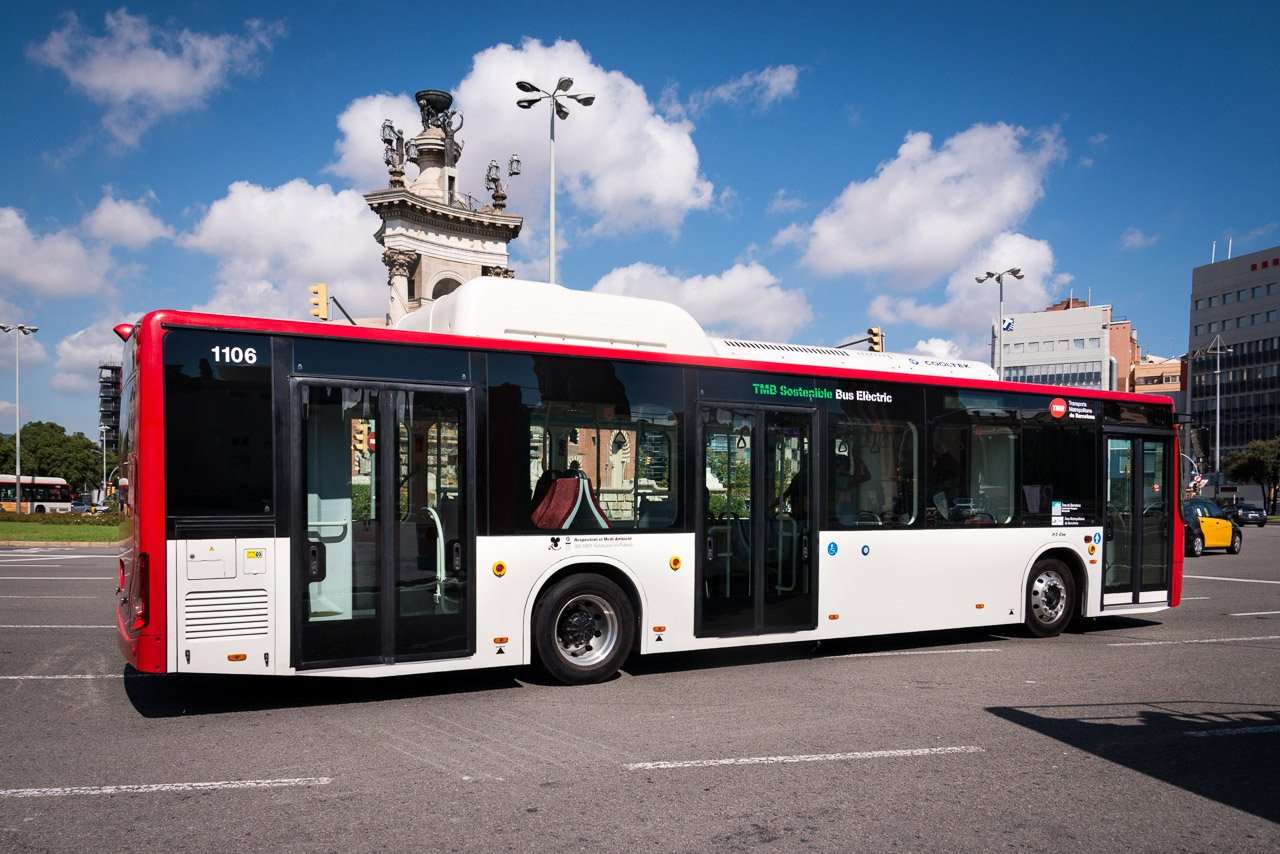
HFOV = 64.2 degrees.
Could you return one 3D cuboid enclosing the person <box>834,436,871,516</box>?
[{"bbox_3d":[2.773,0.726,13.563,0.246,0.846,0.796,4,0,43],"label":"person"}]
